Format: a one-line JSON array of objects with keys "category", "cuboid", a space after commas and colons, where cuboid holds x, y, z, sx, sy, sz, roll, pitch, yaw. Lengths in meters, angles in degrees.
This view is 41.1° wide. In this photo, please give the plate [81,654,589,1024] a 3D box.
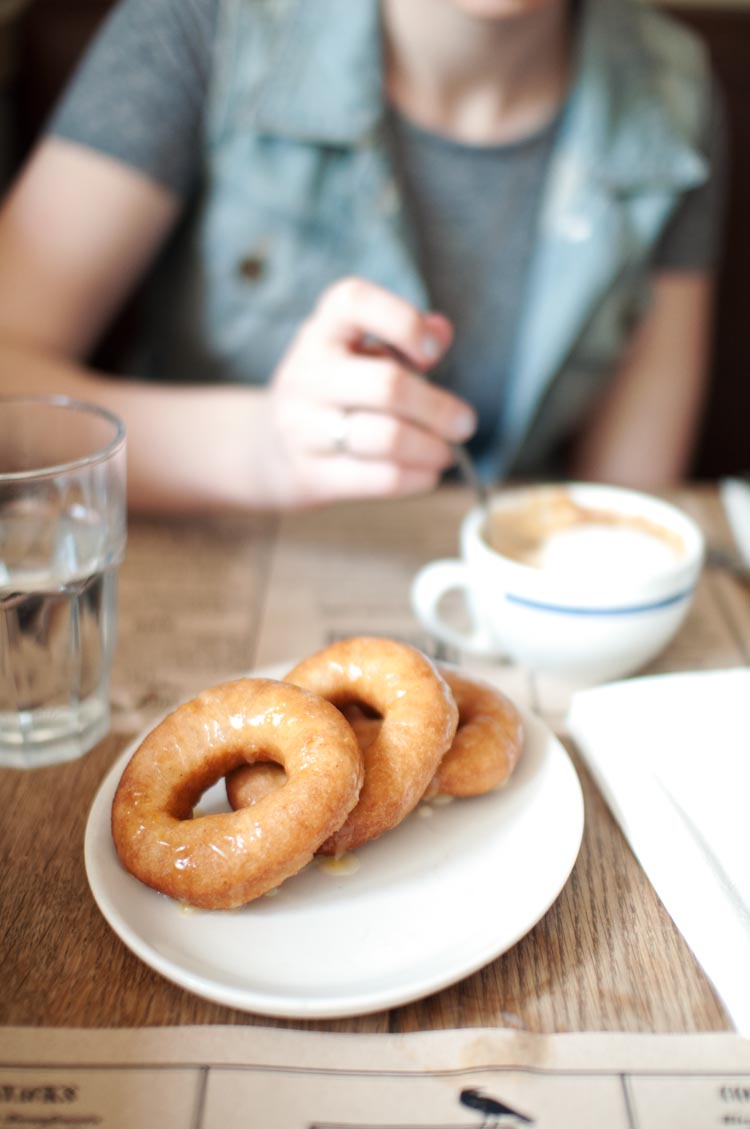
[{"category": "plate", "cuboid": [-0.012, 0.127, 0.453, 0.232, 0.021, 0.169, -4, 33, -9]}]

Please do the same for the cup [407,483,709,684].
[{"category": "cup", "cuboid": [0.108, 0.003, 0.607, 0.150, 0.078, 0.115, -9, 28, -8]}]

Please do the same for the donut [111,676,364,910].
[{"category": "donut", "cuboid": [-0.048, 0.110, 0.448, 0.096, 0.033, 0.097, -27, 31, -7]}]
